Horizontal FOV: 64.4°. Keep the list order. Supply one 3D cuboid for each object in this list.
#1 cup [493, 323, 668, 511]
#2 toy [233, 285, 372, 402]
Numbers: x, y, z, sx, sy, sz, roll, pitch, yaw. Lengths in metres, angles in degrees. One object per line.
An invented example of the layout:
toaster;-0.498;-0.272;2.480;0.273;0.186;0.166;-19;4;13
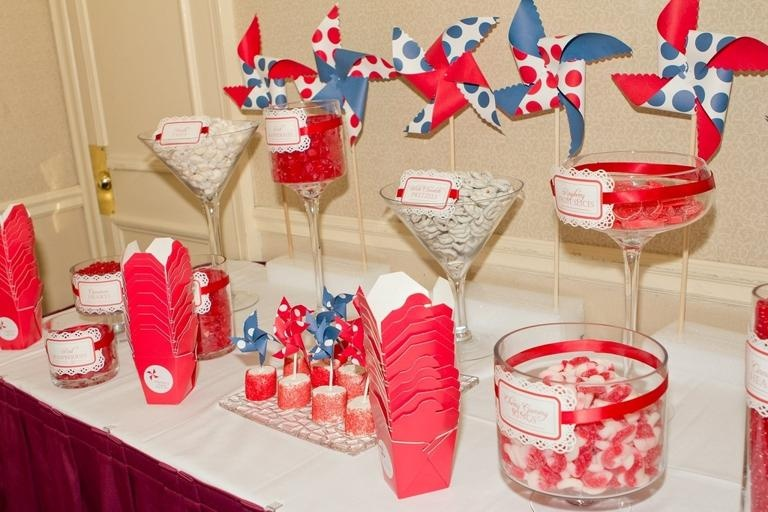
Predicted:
cup;0.283;0.222;0.999;0.267;0.203;0.282;-2;13;1
toy;-0.169;0.187;1.237;0.216;0.183;0.093;2;30;7
